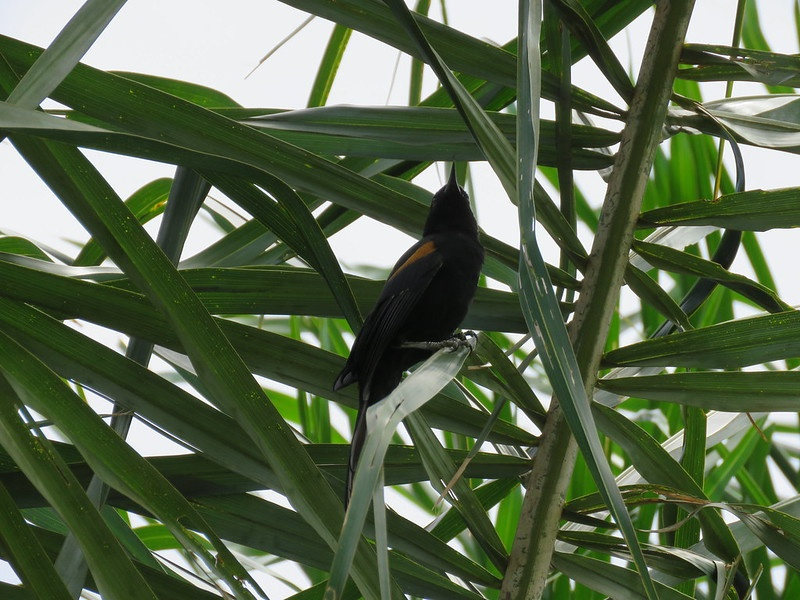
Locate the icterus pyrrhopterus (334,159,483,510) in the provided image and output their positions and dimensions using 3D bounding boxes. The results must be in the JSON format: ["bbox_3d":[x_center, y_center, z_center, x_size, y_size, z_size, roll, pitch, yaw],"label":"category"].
[{"bbox_3d":[0.008,0.032,1.107,0.175,0.358,0.176,-12,-52,6],"label":"icterus pyrrhopterus"}]
